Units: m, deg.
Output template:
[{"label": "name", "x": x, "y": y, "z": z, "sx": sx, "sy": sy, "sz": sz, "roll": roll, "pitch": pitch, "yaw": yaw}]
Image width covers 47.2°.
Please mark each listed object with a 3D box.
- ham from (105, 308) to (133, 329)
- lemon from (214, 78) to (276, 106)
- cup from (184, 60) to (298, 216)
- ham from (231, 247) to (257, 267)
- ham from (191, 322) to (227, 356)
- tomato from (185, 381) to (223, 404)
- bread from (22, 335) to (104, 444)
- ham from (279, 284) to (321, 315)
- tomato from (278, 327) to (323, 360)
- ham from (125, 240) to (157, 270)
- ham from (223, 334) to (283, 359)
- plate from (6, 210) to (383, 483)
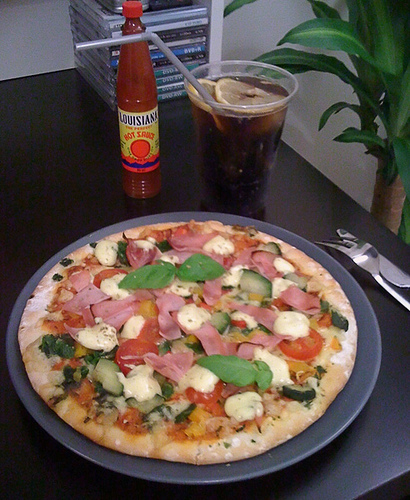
[{"label": "ham", "x": -0.154, "y": 0.122, "z": 0.855, "sx": 0.025, "sy": 0.018, "sz": 0.065, "roll": 44, "pitch": 31, "yaw": 8}, {"label": "lemon", "x": 0.092, "y": -0.365, "z": 1.085, "sx": 0.139, "sy": 0.042, "sz": 0.208, "roll": 2, "pitch": 44, "yaw": 0}, {"label": "cup", "x": 0.083, "y": -0.254, "z": 1.185, "sx": 0.276, "sy": 0.403, "sz": 0.275, "roll": 3, "pitch": 29, "yaw": -1}, {"label": "ham", "x": 0.081, "y": 0.013, "z": 1.001, "sx": 0.032, "sy": 0.013, "sz": 0.043, "roll": 10, "pitch": 53, "yaw": 46}, {"label": "ham", "x": 0.010, "y": 0.153, "z": 0.801, "sx": 0.065, "sy": 0.035, "sz": 0.056, "roll": -10, "pitch": 24, "yaw": -28}, {"label": "tomato", "x": 0.003, "y": 0.227, "z": 0.748, "sx": 0.062, "sy": 0.025, "sz": 0.032, "roll": -9, "pitch": 46, "yaw": -11}, {"label": "bread", "x": -0.223, "y": 0.220, "z": 0.727, "sx": 0.134, "sy": 0.057, "sz": 0.135, "roll": -17, "pitch": 44, "yaw": -38}, {"label": "ham", "x": 0.178, "y": 0.090, "z": 0.909, "sx": 0.074, "sy": 0.046, "sz": 0.057, "roll": -5, "pitch": 22, "yaw": -18}, {"label": "tomato", "x": 0.173, "y": 0.168, "z": 0.870, "sx": 0.103, "sy": 0.032, "sz": 0.094, "roll": 5, "pitch": 21, "yaw": 11}, {"label": "ham", "x": -0.134, "y": 0.006, "z": 0.976, "sx": 0.061, "sy": 0.026, "sz": 0.063, "roll": 5, "pitch": 46, "yaw": 0}, {"label": "ham", "x": 0.085, "y": 0.165, "z": 0.816, "sx": 0.058, "sy": 0.015, "sz": 0.051, "roll": -9, "pitch": 23, "yaw": -37}, {"label": "plate", "x": -0.021, "y": 0.102, "z": 0.858, "sx": 0.667, "sy": 0.112, "sz": 0.639, "roll": 11, "pitch": 45, "yaw": 10}]
